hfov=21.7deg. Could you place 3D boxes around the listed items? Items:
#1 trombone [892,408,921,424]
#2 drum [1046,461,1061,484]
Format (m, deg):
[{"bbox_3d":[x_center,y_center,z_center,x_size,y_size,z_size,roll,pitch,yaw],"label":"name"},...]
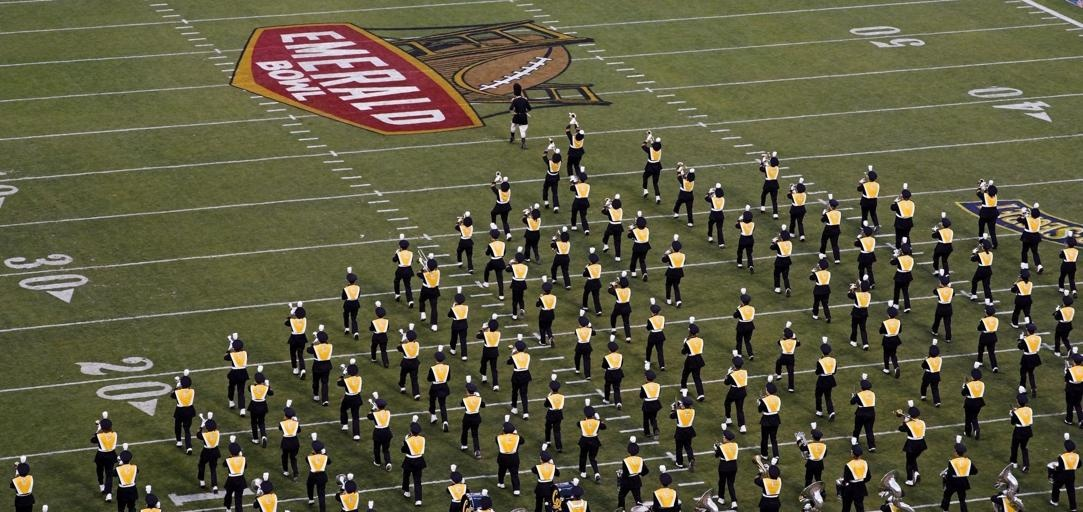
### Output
[{"bbox_3d":[11.396,4.901,87.279,0.718,0.399,1.298,7,3,-7],"label":"trombone"},{"bbox_3d":[15.778,6.551,86.167,0.342,0.753,0.502,-9,29,1],"label":"drum"}]
